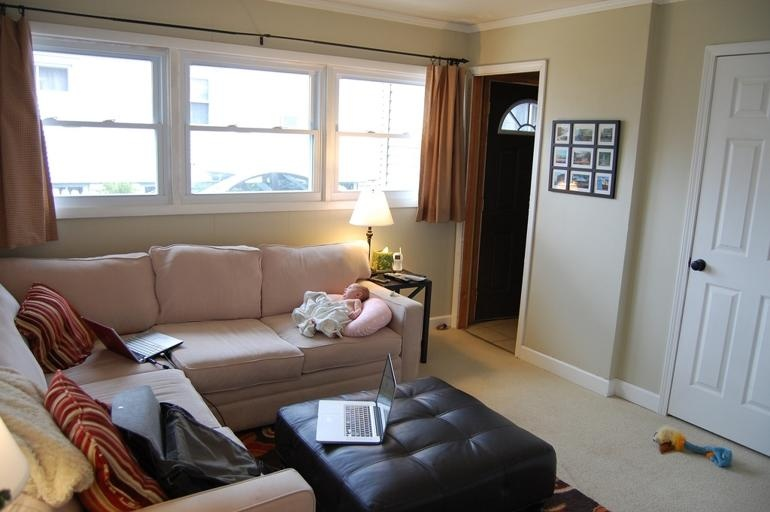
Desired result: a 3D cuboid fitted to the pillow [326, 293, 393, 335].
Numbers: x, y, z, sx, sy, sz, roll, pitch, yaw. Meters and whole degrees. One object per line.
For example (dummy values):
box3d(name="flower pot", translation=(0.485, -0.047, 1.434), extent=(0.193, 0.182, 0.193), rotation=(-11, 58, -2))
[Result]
box3d(name="pillow", translation=(-0.137, 0.466, 4.096), extent=(0.289, 0.105, 0.286), rotation=(-15, 19, -23))

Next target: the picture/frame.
box3d(name="picture/frame", translation=(1.670, -0.811, 4.437), extent=(0.032, 0.687, 0.635), rotation=(-6, 13, -37))

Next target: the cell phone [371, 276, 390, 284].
box3d(name="cell phone", translation=(-0.044, 0.212, 4.765), extent=(0.087, 0.020, 0.089), rotation=(12, 14, 26))

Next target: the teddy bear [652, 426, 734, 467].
box3d(name="teddy bear", translation=(2.145, 1.340, 3.763), extent=(0.405, 0.144, 0.238), rotation=(6, 7, 31))

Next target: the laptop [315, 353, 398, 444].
box3d(name="laptop", translation=(-0.159, 0.878, 3.159), extent=(0.454, 0.324, 0.522), rotation=(3, 13, -3))
